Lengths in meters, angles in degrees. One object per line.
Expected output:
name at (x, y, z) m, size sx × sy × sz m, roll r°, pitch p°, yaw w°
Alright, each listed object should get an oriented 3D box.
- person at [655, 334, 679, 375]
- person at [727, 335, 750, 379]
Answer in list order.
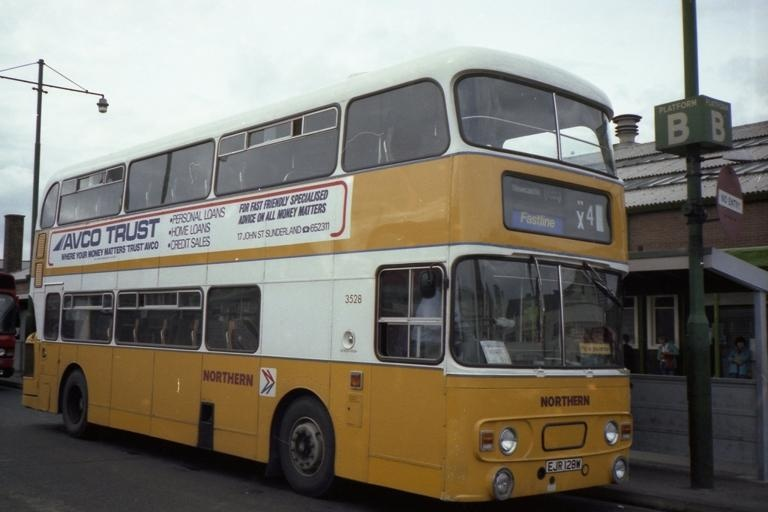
person at (7.990, 2.780, 17.945) m, size 0.476 × 1.059 × 0.866 m, roll -4°, pitch -9°, yaw 20°
person at (9.148, 2.606, 16.376) m, size 0.491 × 1.016 × 0.664 m, roll -6°, pitch -10°, yaw 31°
